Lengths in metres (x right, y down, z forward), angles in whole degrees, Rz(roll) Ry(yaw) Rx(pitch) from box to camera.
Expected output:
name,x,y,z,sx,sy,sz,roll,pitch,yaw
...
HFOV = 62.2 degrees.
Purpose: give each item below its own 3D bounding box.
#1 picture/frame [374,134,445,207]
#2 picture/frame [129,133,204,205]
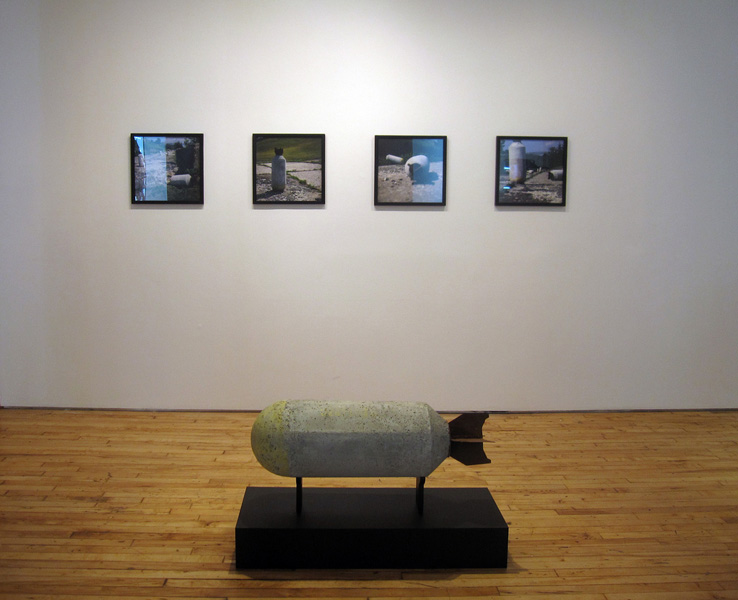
name,x,y,z,sx,sy,sz,roll,pitch,yaw
picture/frame,0.362,-1.186,5.487,0.616,0.581,0.025,0,7,0
picture/frame,-1.824,-1.188,5.454,0.618,0.607,0.026,0,2,-4
